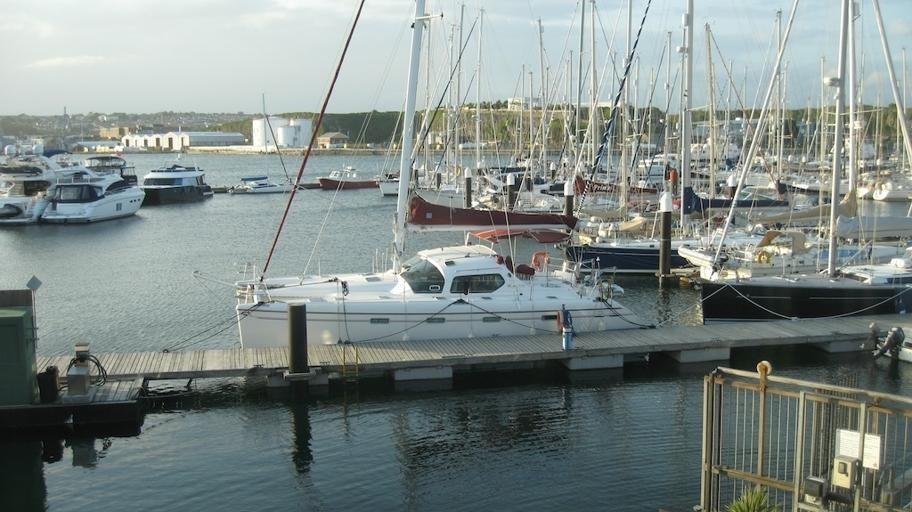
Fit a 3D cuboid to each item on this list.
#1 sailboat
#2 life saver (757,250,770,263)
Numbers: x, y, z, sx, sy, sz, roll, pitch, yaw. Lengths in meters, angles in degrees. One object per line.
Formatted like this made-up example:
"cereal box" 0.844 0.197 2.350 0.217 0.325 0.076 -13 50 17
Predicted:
"sailboat" 4.413 -3.245 34.942 24.767 11.809 4.607 -3 11 -10
"life saver" 12.284 0.049 38.686 0.497 0.427 0.184 6 2 4
